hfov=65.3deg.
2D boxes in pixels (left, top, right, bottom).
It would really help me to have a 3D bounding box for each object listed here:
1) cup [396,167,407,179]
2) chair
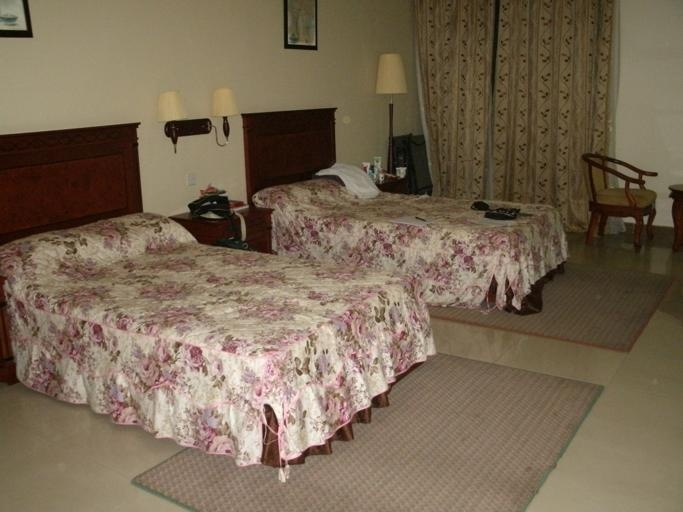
[{"bbox_3d":[0.858,-1.170,7.475,0.124,0.151,0.155,8,14,33],"label":"cup"},{"bbox_3d":[3.665,-0.805,7.447,1.248,1.661,1.197,5,18,32],"label":"chair"}]
